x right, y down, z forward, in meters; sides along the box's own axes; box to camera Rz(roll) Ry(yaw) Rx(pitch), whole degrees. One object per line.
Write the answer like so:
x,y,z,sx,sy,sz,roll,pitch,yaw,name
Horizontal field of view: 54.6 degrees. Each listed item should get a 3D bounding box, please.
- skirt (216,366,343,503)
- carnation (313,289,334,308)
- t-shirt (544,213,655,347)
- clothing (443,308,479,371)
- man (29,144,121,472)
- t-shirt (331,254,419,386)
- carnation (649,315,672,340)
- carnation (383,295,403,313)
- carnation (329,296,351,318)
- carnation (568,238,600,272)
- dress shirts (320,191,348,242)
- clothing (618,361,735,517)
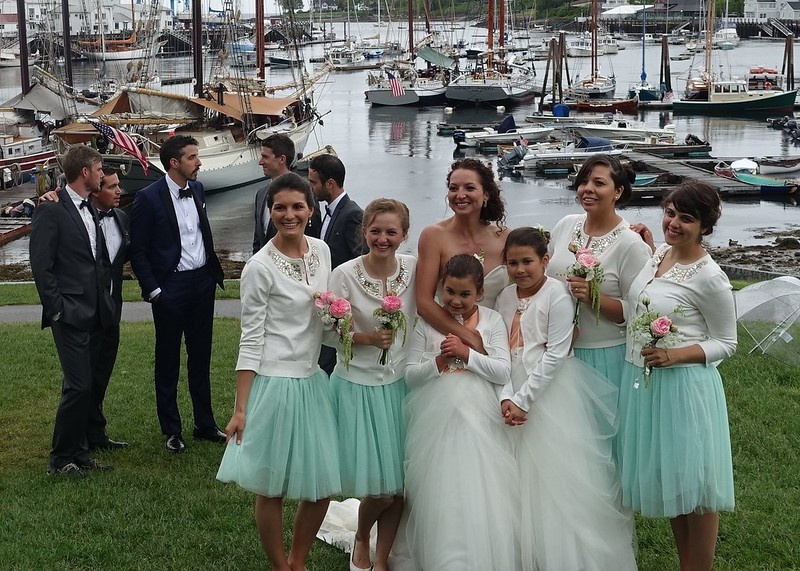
-0.828,1.063,5.580,1.058,1.148,0.752,10,-13,-18,skirt
-0.523,0.071,5.327,0.097,0.089,0.123,3,13,1,carnation
1.455,-0.022,5.598,0.812,0.910,0.433,7,8,41,t-shirt
0.458,0.381,5.497,0.251,0.369,0.189,8,7,33,clothing
-2.871,0.188,6.812,0.574,2.788,0.904,2,13,12,man
-0.182,0.251,5.505,0.780,0.839,0.455,-4,9,-34,t-shirt
1.750,0.273,5.173,0.141,0.158,0.086,4,14,19,carnation
-0.041,0.096,5.373,0.106,0.073,0.109,21,31,32,carnation
-0.417,0.143,5.292,0.133,0.130,0.097,2,13,15,carnation
1.320,-0.226,5.557,0.158,0.112,0.232,-5,48,-14,carnation
-0.668,-0.695,7.258,0.294,0.436,0.147,6,10,-45,dress shirts
1.880,1.056,5.279,0.862,1.293,0.672,-3,-10,11,clothing
